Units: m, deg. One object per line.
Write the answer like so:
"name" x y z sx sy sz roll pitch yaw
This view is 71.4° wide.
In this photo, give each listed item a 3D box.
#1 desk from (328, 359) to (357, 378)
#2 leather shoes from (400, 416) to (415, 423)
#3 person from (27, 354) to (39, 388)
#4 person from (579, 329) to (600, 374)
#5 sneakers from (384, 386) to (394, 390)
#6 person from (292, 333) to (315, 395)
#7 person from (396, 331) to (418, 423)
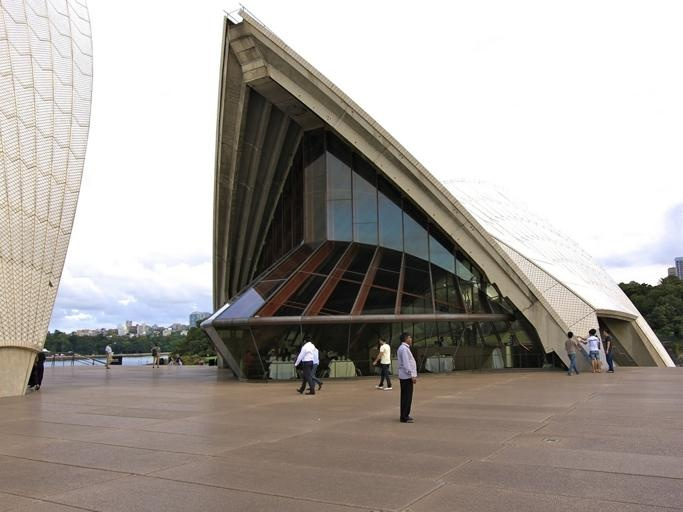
"desk" 0.047 4.689 19.765 0.936 0.628 0.725 2 1 -4
"leather shoes" 1.302 3.255 9.531 0.289 0.109 0.166 0 -9 -8
"person" -12.054 4.546 18.731 0.297 1.182 1.326 4 -10 -31
"person" 10.387 3.909 19.894 0.603 1.787 1.434 -5 -9 21
"sneakers" 1.542 4.342 15.630 0.268 0.113 0.100 -1 -20 1
"person" -1.161 3.604 15.547 0.569 1.574 1.995 -1 -9 -5
"person" 1.382 2.533 10.193 0.375 1.741 1.284 -2 -9 6
